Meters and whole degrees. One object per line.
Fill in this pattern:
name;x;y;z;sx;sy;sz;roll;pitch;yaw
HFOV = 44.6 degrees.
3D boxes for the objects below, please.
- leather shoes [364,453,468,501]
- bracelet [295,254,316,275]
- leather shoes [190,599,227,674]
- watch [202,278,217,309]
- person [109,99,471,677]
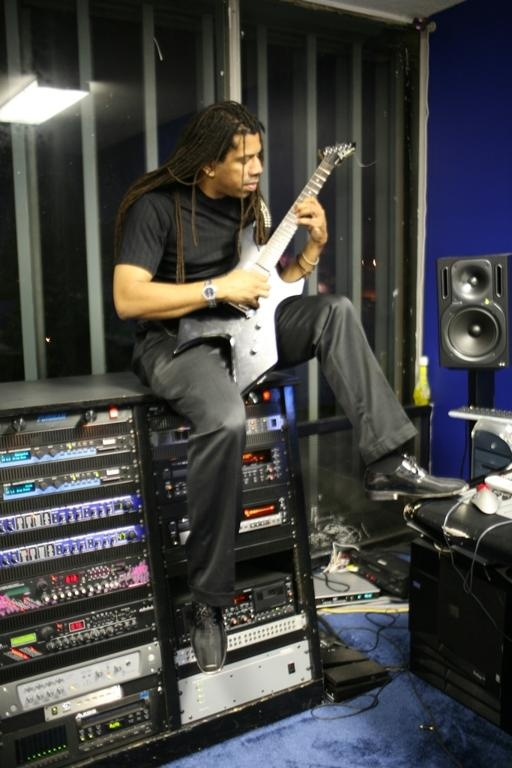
leather shoes;0.419;0.258;1.755;0.320;0.149;0.107;-4;13;2
bracelet;0.155;-0.364;1.939;0.050;0.065;0.045;-15;28;-21
leather shoes;-0.127;0.660;1.619;0.069;0.212;0.085;-4;-1;-14
watch;-0.118;-0.229;1.589;0.034;0.059;0.056;-7;-10;3
person;0.001;-0.041;1.779;0.769;1.518;0.536;-4;8;-15
